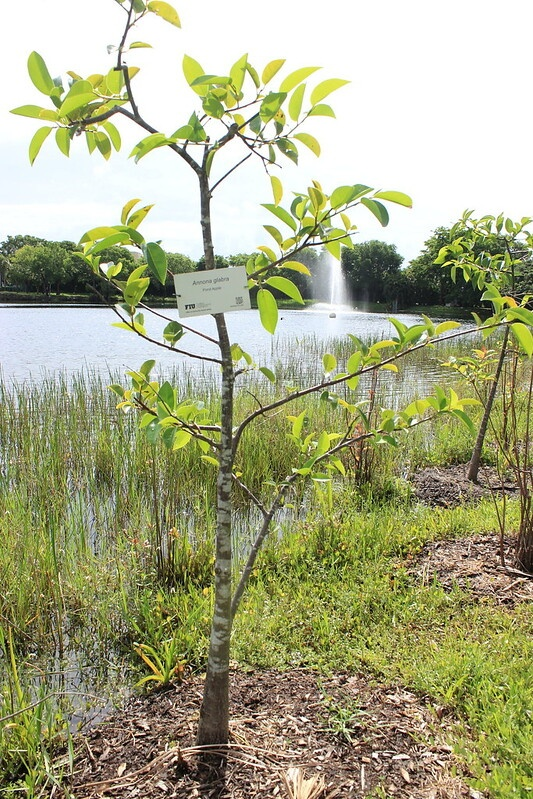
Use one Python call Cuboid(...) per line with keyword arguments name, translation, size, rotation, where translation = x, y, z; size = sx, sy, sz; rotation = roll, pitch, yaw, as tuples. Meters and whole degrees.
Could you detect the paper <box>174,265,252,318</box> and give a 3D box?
Cuboid(name="paper", translation=(-0.173, -0.350, 2.459), size=(0.247, 0.175, 0.195), rotation=(2, 9, -1))
